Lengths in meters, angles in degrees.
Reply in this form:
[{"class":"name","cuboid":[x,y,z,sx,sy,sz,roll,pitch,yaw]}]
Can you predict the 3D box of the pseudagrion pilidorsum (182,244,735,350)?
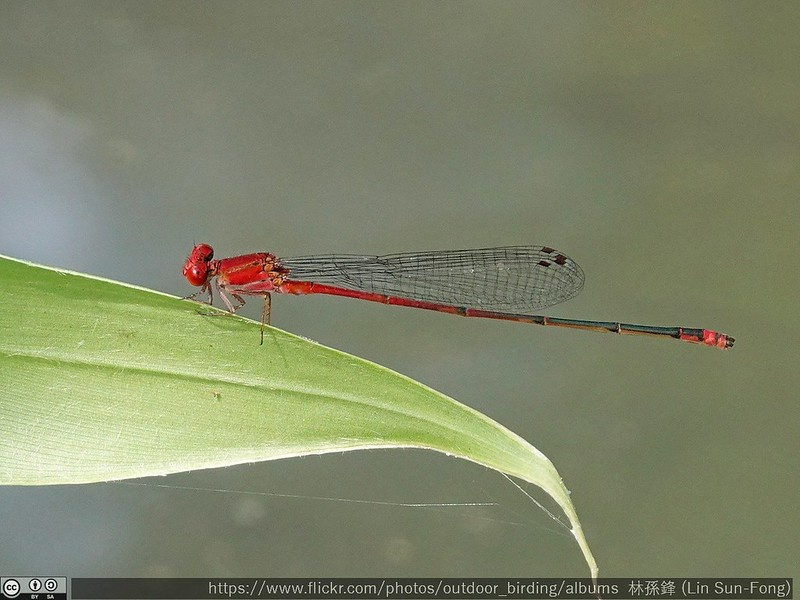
[{"class":"pseudagrion pilidorsum","cuboid":[0.354,0.005,5.531,3.602,0.856,0.835,4,-65,1]}]
